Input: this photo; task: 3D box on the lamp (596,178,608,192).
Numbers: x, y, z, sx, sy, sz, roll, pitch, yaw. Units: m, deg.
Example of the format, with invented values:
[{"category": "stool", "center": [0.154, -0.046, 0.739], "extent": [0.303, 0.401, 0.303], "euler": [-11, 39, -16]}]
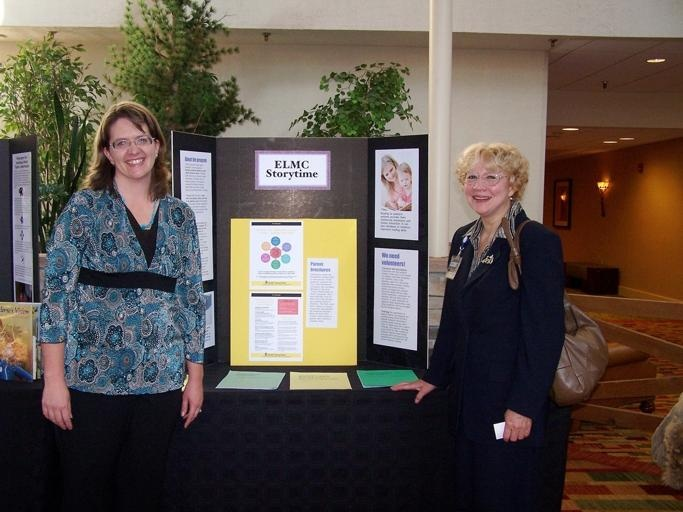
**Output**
[{"category": "lamp", "center": [5.411, -1.441, 12.157], "extent": [0.202, 0.218, 0.199], "euler": [4, 0, 9]}]

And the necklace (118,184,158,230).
[{"category": "necklace", "center": [-0.796, -0.191, 2.289], "extent": [0.122, 0.172, 0.041], "euler": [-14, -12, -21]}]

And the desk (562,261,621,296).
[{"category": "desk", "center": [5.044, 0.449, 12.079], "extent": [0.425, 0.515, 1.450], "euler": [-1, 5, -15]}]
